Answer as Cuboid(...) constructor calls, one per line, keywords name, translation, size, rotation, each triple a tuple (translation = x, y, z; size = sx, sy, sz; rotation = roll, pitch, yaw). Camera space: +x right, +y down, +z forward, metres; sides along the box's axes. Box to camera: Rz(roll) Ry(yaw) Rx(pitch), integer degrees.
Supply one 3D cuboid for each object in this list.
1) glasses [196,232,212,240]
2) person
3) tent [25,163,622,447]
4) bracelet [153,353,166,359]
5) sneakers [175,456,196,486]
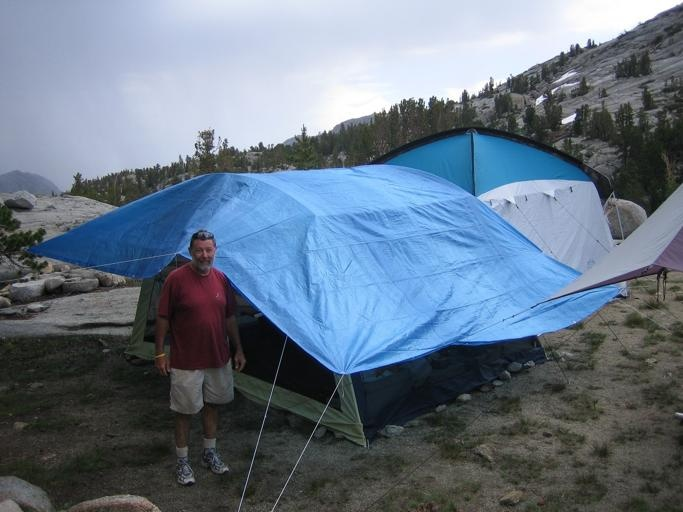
Cuboid(name="glasses", translation=(-1.449, -0.206, 5.975), size=(0.099, 0.115, 0.036), rotation=(2, 3, -12))
Cuboid(name="person", translation=(-1.509, 1.075, 6.082), size=(0.918, 2.648, 0.458), rotation=(-5, 10, -21))
Cuboid(name="tent", translation=(0.233, -0.018, 7.519), size=(6.665, 2.196, 3.061), rotation=(-6, 11, -21))
Cuboid(name="bracelet", translation=(-1.901, 1.043, 5.977), size=(0.076, 0.063, 0.121), rotation=(7, 13, 39))
Cuboid(name="sneakers", translation=(-1.645, 2.305, 6.024), size=(0.132, 0.171, 0.353), rotation=(0, -3, -22))
